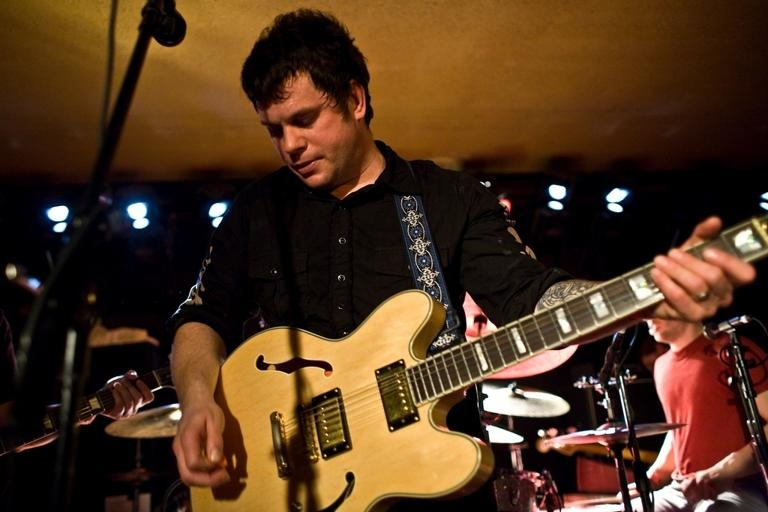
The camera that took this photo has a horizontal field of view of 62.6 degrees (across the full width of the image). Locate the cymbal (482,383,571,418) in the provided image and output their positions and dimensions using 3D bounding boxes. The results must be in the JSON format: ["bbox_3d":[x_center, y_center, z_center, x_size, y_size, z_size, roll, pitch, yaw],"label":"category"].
[{"bbox_3d":[1.476,1.540,6.630,0.784,0.177,0.755,4,-8,-33],"label":"cymbal"}]

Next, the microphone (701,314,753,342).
[{"bbox_3d":[3.124,0.654,5.841,0.216,0.200,0.536,9,-23,-22],"label":"microphone"}]
